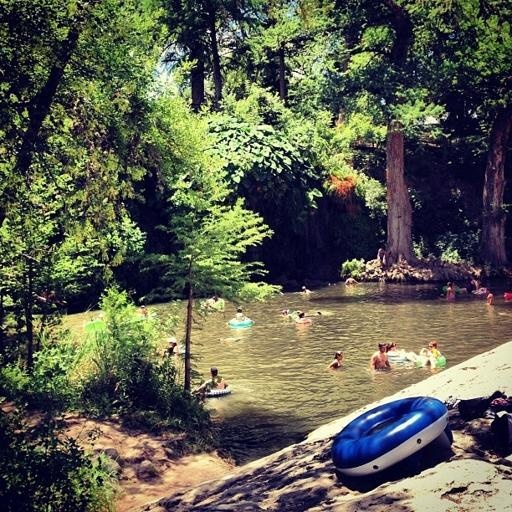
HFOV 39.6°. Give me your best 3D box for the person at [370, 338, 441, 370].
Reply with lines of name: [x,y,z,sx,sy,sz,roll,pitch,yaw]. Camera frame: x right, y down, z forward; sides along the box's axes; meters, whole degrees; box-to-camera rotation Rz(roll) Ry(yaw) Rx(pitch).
person: [3.926,2.420,17.482,1.565,0.683,2.405,-11,-9,40]

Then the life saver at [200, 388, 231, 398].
life saver: [-0.809,2.951,15.325,0.593,0.175,0.369,-4,-7,-7]

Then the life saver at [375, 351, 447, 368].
life saver: [4.001,2.555,17.433,0.925,0.212,0.544,-2,-3,33]

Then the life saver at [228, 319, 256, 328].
life saver: [-0.534,2.236,23.528,0.896,0.363,1.046,-6,-7,7]
